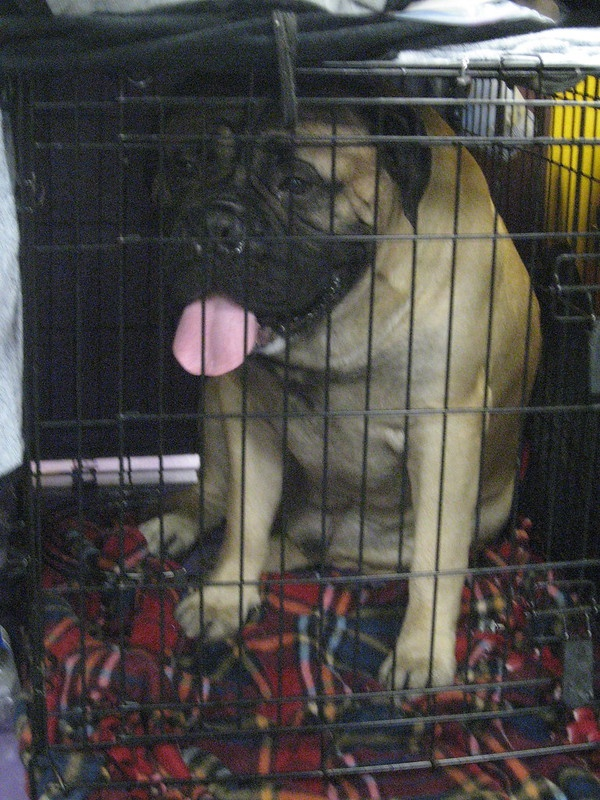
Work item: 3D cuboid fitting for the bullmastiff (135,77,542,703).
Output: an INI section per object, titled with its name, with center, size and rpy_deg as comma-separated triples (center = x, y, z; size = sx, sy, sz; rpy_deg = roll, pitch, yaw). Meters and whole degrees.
[bullmastiff]
center = 0.063, -0.114, 2.538
size = 0.803, 1.074, 1.099
rpy_deg = 8, 14, 19
